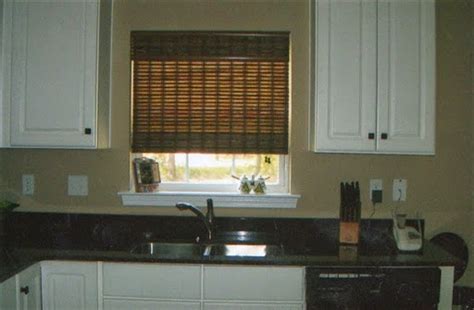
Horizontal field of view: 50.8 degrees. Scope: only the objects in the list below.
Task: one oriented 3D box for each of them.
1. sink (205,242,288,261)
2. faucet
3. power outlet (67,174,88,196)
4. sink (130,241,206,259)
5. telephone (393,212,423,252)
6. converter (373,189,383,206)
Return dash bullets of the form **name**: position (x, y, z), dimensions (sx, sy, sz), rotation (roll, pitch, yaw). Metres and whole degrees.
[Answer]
- **sink**: position (0.044, 0.773, 3.940), dimensions (0.640, 0.096, 0.328), rotation (-1, 1, 0)
- **faucet**: position (-0.335, 0.527, 4.115), dimensions (0.313, 0.329, 0.245), rotation (-1, 1, -4)
- **power outlet**: position (-1.367, 0.257, 4.215), dimensions (0.165, 0.168, 0.041), rotation (3, 0, 5)
- **sink**: position (-0.524, 0.765, 3.938), dimensions (0.614, 0.110, 0.330), rotation (-1, 1, 0)
- **telephone**: position (1.366, 0.642, 4.035), dimensions (0.223, 0.144, 0.310), rotation (0, 32, 11)
- **converter**: position (1.190, 0.351, 4.232), dimensions (0.098, 0.120, 0.032), rotation (-1, 1, -14)
